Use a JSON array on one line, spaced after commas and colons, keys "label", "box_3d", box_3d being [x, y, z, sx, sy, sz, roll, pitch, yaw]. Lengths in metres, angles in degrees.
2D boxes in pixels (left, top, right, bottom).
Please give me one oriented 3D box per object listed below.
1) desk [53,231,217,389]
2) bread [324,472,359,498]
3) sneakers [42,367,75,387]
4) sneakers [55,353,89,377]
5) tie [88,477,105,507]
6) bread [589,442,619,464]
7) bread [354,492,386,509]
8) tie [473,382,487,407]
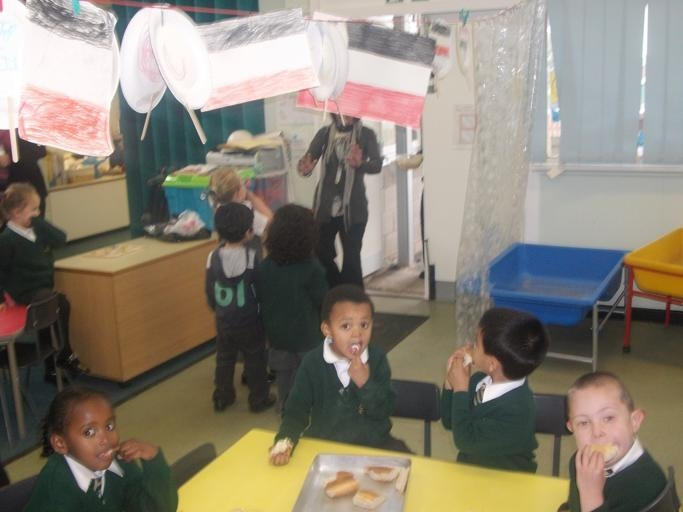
[{"label": "desk", "box_3d": [-0.928, 0.230, 2.704, 0.353, 0.511, 0.731, 7, 15, 26]}, {"label": "bread", "box_3d": [0.000, 0.579, 1.396, 0.086, 0.033, 0.062, -2, 12, -12]}, {"label": "sneakers", "box_3d": [-1.389, 0.592, 2.711, 0.094, 0.052, 0.137, 6, -1, -12]}, {"label": "sneakers", "box_3d": [-1.293, 0.531, 2.644, 0.078, 0.138, 0.062, -41, 29, -4]}, {"label": "tie", "box_3d": [-0.619, 0.596, 1.393, 0.041, 0.061, 0.059, -3, 17, -18]}, {"label": "bread", "box_3d": [0.611, 0.457, 1.285, 0.069, 0.037, 0.025, -2, 12, -11]}, {"label": "bread", "box_3d": [0.065, 0.597, 1.346, 0.070, 0.022, 0.042, 6, 13, 24]}, {"label": "tie", "box_3d": [0.434, 0.431, 1.729, 0.026, 0.066, 0.048, 11, 14, 16]}]
